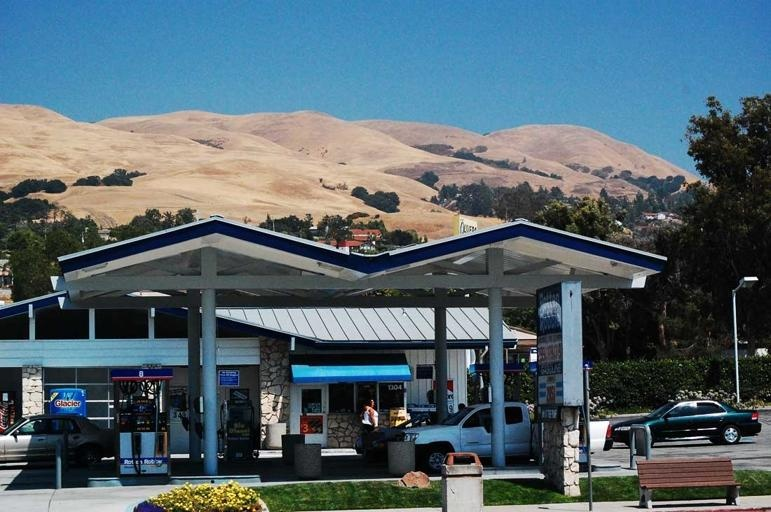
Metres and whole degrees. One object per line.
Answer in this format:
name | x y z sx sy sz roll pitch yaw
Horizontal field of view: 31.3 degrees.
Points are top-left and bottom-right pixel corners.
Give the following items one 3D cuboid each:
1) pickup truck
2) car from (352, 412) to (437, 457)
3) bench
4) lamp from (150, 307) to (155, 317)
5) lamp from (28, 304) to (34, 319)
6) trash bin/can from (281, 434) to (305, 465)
pickup truck | 3.758 7.625 58.179 4.929 2.868 0.718 -4 -12 3
car | 0.618 8.250 62.656 4.993 2.018 2.719 1 -2 30
bench | 11.698 8.683 52.902 3.738 1.879 0.587 -2 -12 -2
lamp | -11.230 2.644 66.310 0.307 0.532 0.600 0 -4 -11
lamp | -17.207 2.640 66.750 0.251 0.641 0.450 0 -13 -13
trash bin/can | -4.313 8.611 61.807 1.253 1.315 1.260 -1 -7 7
